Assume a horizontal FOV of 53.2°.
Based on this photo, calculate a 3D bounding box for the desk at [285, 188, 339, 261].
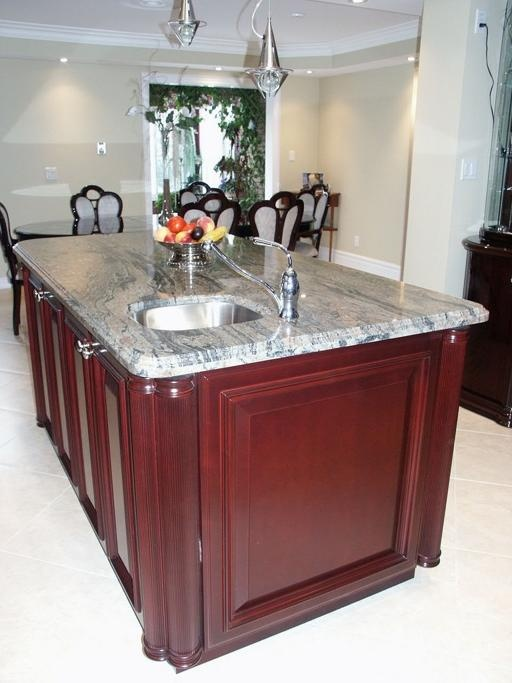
[{"bbox_3d":[0.630,-1.219,5.568,0.526,0.752,0.479,-9,15,37],"label":"desk"}]

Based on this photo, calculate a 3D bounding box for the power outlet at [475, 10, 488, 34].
[{"bbox_3d":[1.145,-1.630,2.623,0.073,0.108,0.025,-4,11,-27],"label":"power outlet"}]

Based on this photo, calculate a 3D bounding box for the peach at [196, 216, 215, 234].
[{"bbox_3d":[-0.194,-0.436,1.962,0.071,0.076,0.073,-1,6,-9],"label":"peach"}]

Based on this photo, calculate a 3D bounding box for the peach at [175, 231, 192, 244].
[{"bbox_3d":[-0.268,-0.376,1.883,0.046,0.047,0.056,20,25,-23],"label":"peach"}]

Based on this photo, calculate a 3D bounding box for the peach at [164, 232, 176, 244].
[{"bbox_3d":[-0.317,-0.376,1.872,0.040,0.035,0.056,-3,10,-17],"label":"peach"}]
